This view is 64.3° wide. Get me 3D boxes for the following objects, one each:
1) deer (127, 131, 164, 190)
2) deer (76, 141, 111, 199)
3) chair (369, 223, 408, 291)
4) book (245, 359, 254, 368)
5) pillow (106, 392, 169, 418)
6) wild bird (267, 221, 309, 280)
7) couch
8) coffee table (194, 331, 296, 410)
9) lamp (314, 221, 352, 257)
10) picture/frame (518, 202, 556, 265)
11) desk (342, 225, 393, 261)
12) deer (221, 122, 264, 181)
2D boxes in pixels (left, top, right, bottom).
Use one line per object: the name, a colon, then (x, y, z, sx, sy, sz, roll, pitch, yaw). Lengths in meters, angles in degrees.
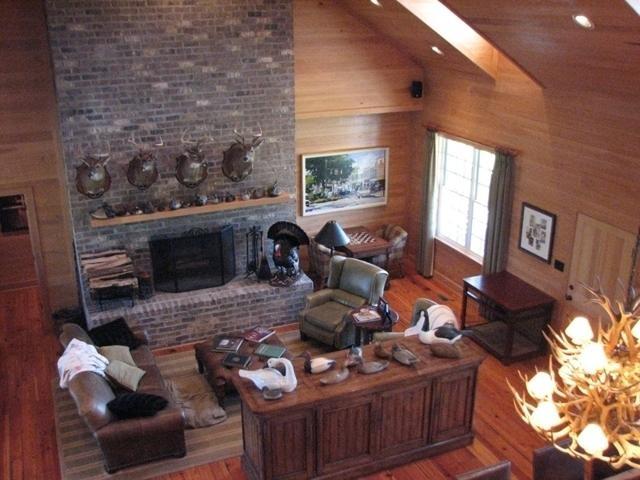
deer: (-2.604, -1.173, 7.582, 0.622, 0.803, 0.322, -10, 17, -15)
deer: (-3.277, -0.980, 7.335, 0.571, 0.679, 0.373, -11, 14, -20)
chair: (1.262, 0.310, 9.520, 0.859, 1.149, 0.951, -6, 20, -16)
book: (-0.938, 1.612, 6.708, 0.025, 0.092, 0.084, 7, 58, 49)
pillow: (-2.096, 1.879, 5.845, 0.598, 0.189, 0.314, -4, 15, 4)
wild bird: (-0.524, 0.176, 8.482, 0.661, 0.978, 0.391, -5, 16, 3)
couch: (-2.382, 1.993, 6.207, 1.064, 1.096, 1.490, -14, 18, -28)
coffee table: (-1.193, 1.596, 6.864, 0.954, 0.406, 0.975, -21, 43, -20)
lamp: (0.192, -0.003, 8.678, 0.383, 0.594, 0.380, -22, 43, -25)
picture/frame: (3.262, -0.125, 7.585, 0.063, 0.837, 0.767, -14, 26, -21)
desk: (0.902, -0.063, 9.383, 0.581, 0.199, 0.918, -6, 27, -14)
deer: (-1.228, -1.354, 8.079, 0.731, 0.832, 0.339, -9, 16, -13)
